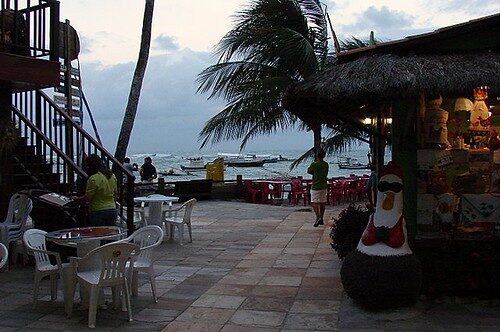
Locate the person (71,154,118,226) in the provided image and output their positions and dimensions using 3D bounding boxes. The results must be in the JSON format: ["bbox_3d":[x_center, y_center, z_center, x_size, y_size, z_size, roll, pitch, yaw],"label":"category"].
[{"bbox_3d":[-2.712,0.426,7.920,0.652,1.289,0.350,-2,4,-20],"label":"person"}]

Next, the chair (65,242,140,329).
[{"bbox_3d":[-2.075,1.584,6.387,0.955,1.135,0.760,3,5,39],"label":"chair"}]

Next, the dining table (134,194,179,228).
[{"bbox_3d":[-2.214,1.003,10.499,0.833,0.546,0.813,1,-1,6],"label":"dining table"}]

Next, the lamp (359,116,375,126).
[{"bbox_3d":[2.831,-1.057,10.620,0.226,0.210,0.219,-2,4,-24],"label":"lamp"}]

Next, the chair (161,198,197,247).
[{"bbox_3d":[-1.705,1.281,10.540,0.770,0.995,0.658,1,-1,26],"label":"chair"}]

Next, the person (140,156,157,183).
[{"bbox_3d":[-3.859,0.113,16.913,0.568,0.964,1.583,-2,4,-14],"label":"person"}]

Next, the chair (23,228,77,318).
[{"bbox_3d":[-2.912,1.550,6.841,0.893,1.126,0.786,-3,-2,2],"label":"chair"}]

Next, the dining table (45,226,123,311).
[{"bbox_3d":[-2.468,1.541,6.973,1.181,1.108,1.136,-1,0,-10],"label":"dining table"}]
